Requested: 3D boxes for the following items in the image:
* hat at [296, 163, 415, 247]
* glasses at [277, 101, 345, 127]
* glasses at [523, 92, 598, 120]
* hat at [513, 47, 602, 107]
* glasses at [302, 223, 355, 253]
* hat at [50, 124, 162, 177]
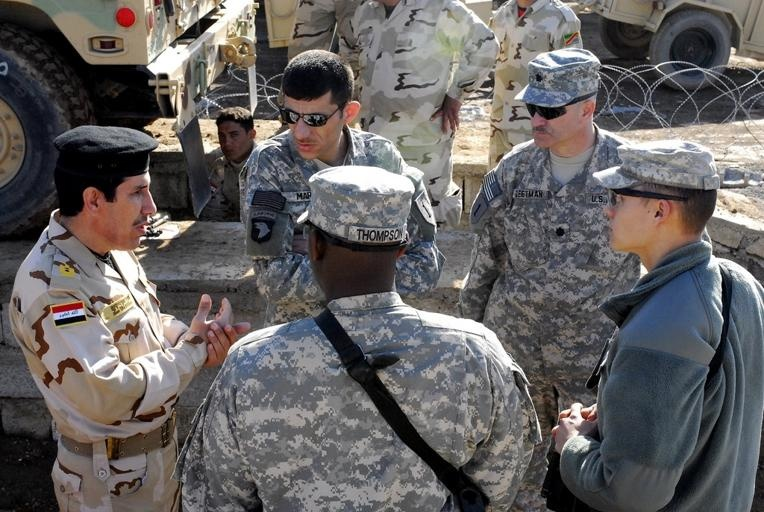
[{"bbox_3d":[-0.072,-0.200,3.693,0.309,0.182,0.377,-4,20,-34],"label":"hat"},{"bbox_3d":[-0.368,-0.694,4.542,0.303,0.093,0.134,10,20,14],"label":"glasses"},{"bbox_3d":[0.929,-0.836,4.952,0.242,0.077,0.188,-15,13,-19],"label":"glasses"},{"bbox_3d":[1.004,-0.990,5.001,0.424,0.144,0.308,-27,37,-28],"label":"hat"},{"bbox_3d":[-0.192,-0.072,3.719,0.154,0.035,0.115,22,7,31],"label":"glasses"},{"bbox_3d":[-1.339,-0.513,4.419,0.352,0.133,0.302,-8,24,-21],"label":"hat"}]
